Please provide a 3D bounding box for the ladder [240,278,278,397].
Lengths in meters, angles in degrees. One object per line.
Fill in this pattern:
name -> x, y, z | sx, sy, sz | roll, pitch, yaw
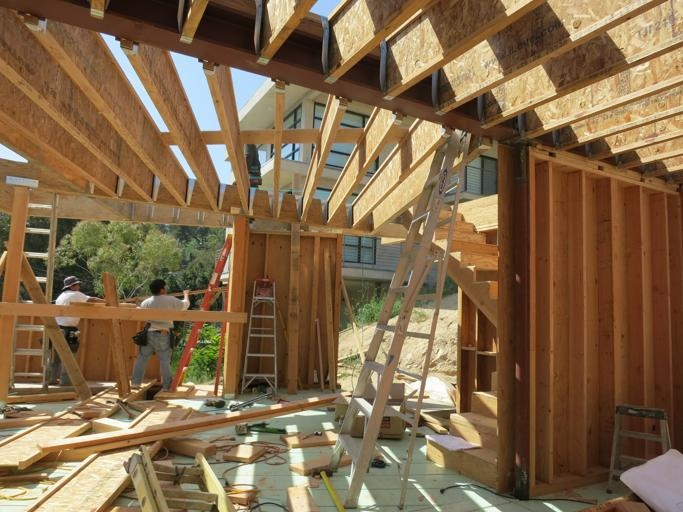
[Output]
ladder -> -1.247, 1.265, 8.924 | 0.580, 1.835, 0.774 | 5, -1, -6

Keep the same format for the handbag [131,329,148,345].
handbag -> -2.721, 1.165, 7.662 | 0.258, 0.226, 0.193 | 13, -16, -29

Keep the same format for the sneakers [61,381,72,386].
sneakers -> -3.825, 1.820, 7.735 | 0.119, 0.047, 0.073 | 3, 0, -28
